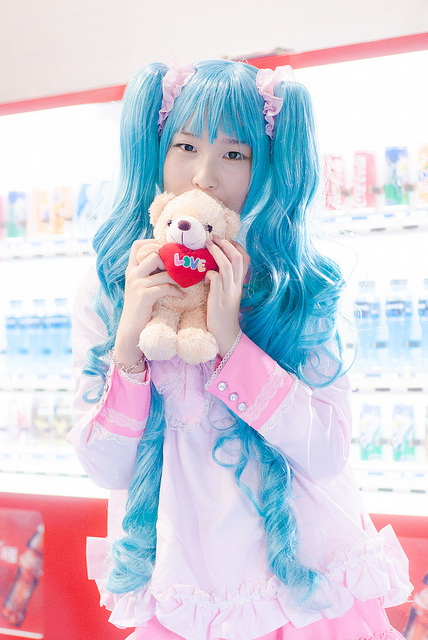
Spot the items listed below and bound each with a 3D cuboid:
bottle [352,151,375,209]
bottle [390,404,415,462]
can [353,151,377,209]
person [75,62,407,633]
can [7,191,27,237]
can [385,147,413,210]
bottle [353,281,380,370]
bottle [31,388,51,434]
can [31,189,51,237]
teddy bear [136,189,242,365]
[{"bbox_3d":[0.418,-0.397,1.716,0.062,0.158,0.039,-1,2,13],"label":"bottle"},{"bbox_3d":[0.530,0.318,1.724,0.074,0.143,0.061,-2,12,9],"label":"bottle"},{"bbox_3d":[0.424,-0.400,1.712,0.066,0.160,0.047,-5,17,4],"label":"can"},{"bbox_3d":[0.007,0.026,1.007,0.578,0.966,0.324,-1,3,18],"label":"person"},{"bbox_3d":[-0.642,-0.345,1.979,0.064,0.149,0.041,-2,2,-8],"label":"can"},{"bbox_3d":[0.518,-0.401,1.712,0.072,0.185,0.096,-1,3,17],"label":"can"},{"bbox_3d":[0.410,0.016,1.649,0.075,0.249,0.424,-1,3,15],"label":"bottle"},{"bbox_3d":[-0.575,0.310,2.011,0.064,0.125,0.060,-2,2,0],"label":"bottle"},{"bbox_3d":[-0.561,-0.345,1.957,0.066,0.157,0.064,-2,2,0],"label":"can"},{"bbox_3d":[-0.037,-0.068,0.939,0.164,0.269,0.150,-2,3,-7],"label":"teddy bear"}]
